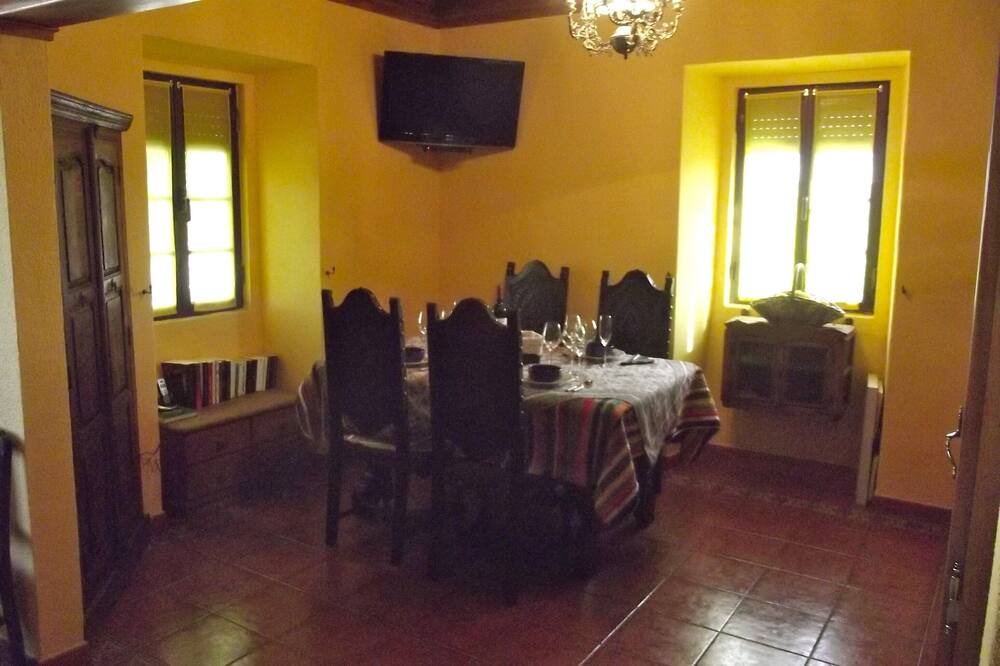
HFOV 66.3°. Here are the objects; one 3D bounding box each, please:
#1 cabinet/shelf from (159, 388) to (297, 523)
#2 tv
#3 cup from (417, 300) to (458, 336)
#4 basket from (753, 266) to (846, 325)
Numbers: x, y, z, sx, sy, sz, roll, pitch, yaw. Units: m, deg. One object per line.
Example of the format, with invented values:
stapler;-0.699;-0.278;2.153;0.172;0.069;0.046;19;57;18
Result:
cabinet/shelf;-1.679;0.762;4.814;0.246;0.541;0.883;9;13;39
tv;-0.355;-1.676;5.452;0.772;0.458;0.074;3;18;-6
cup;-0.472;-0.109;5.379;0.295;0.170;0.404;-4;-1;-10
basket;2.040;-0.350;5.119;0.378;0.474;0.697;3;6;31
